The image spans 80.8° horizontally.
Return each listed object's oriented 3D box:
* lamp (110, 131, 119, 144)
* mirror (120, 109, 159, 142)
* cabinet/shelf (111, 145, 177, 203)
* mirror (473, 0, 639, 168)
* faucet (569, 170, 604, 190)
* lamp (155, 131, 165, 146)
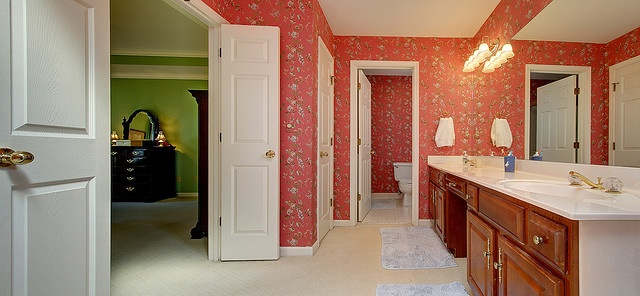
[{"bbox_3d":[-4.296,-0.203,7.914,0.128,0.283,0.433,-2,2,-25],"label":"lamp"},{"bbox_3d":[-3.881,-0.439,8.073,0.957,0.727,0.081,0,1,0],"label":"mirror"},{"bbox_3d":[-3.655,0.553,8.012,1.833,1.308,1.162,0,-2,-2],"label":"cabinet/shelf"},{"bbox_3d":[3.036,-0.985,5.035,0.454,2.343,1.919,-2,2,-17],"label":"mirror"},{"bbox_3d":[3.062,0.374,4.351,0.163,0.140,0.451,-2,8,-18],"label":"faucet"},{"bbox_3d":[-3.413,-0.212,8.049,0.212,0.326,0.258,-2,2,-21],"label":"lamp"}]
